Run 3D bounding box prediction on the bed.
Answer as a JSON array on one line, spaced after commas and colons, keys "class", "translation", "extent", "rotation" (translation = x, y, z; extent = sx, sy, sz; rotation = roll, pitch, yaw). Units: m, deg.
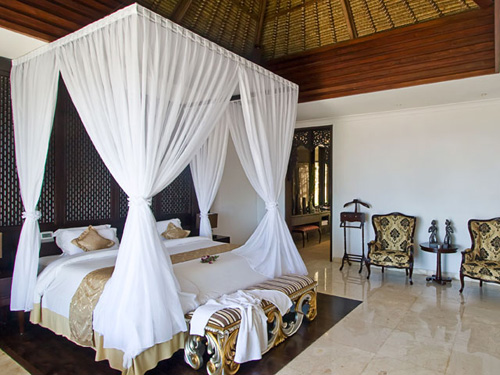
[{"class": "bed", "translation": [-0.951, 1.166, 3.658], "extent": [2.043, 1.087, 2.142], "rotation": [1, 2, 32]}]
